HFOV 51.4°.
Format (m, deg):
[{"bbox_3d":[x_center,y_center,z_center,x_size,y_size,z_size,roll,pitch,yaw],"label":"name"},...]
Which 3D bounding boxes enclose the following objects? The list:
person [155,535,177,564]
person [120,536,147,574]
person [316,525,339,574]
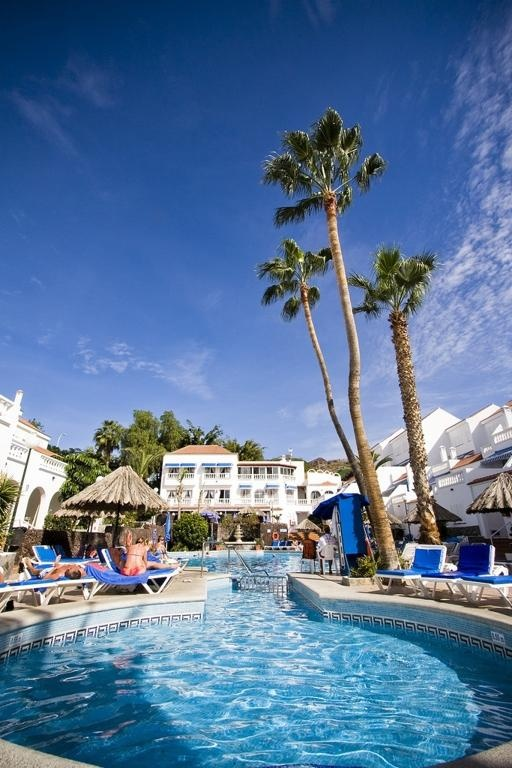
[{"bbox_3d":[-3.440,7.260,20.406,0.672,1.391,0.730,-5,-16,3],"label":"person"},{"bbox_3d":[-2.596,4.162,11.267,0.292,0.971,0.803,5,-57,-5],"label":"person"},{"bbox_3d":[2.058,5.663,15.444,0.478,1.570,2.291,1,-5,8],"label":"person"}]
